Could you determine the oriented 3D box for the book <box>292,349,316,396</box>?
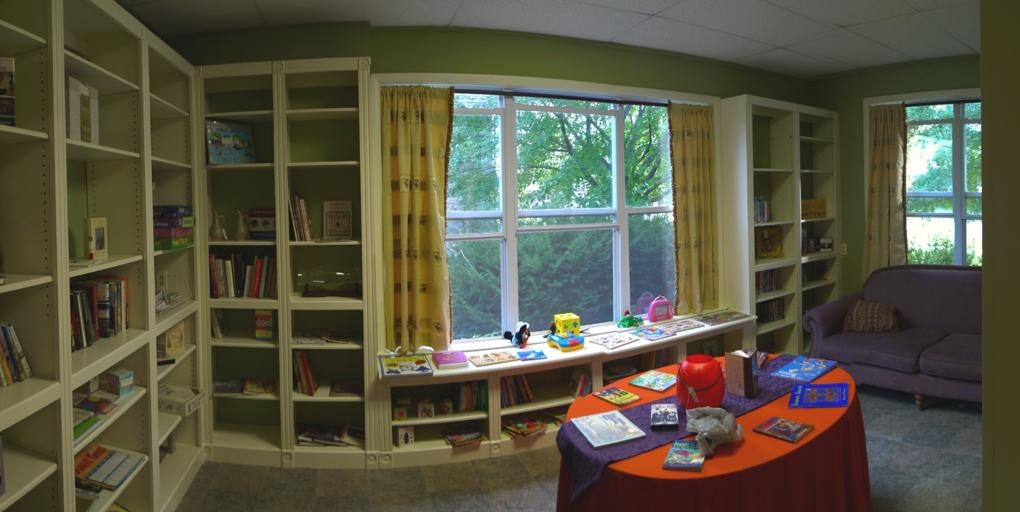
[{"bbox_3d":[-2.144,1.230,6.673,0.147,0.385,0.411,-16,13,-6],"label":"book"}]

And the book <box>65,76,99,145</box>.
[{"bbox_3d":[-3.843,-1.312,5.656,0.165,0.569,0.273,-1,7,-1],"label":"book"}]

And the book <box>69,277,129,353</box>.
[{"bbox_3d":[-3.795,0.520,5.812,0.506,0.604,0.242,-7,10,-41],"label":"book"}]

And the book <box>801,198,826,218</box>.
[{"bbox_3d":[4.159,-0.655,8.639,0.336,0.190,0.046,-3,1,-28],"label":"book"}]

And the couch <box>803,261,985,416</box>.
[{"bbox_3d":[5.008,0.930,7.371,2.621,1.267,1.473,3,21,46],"label":"couch"}]

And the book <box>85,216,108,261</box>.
[{"bbox_3d":[-3.759,-0.157,5.728,0.115,0.381,0.191,-2,7,-10],"label":"book"}]
